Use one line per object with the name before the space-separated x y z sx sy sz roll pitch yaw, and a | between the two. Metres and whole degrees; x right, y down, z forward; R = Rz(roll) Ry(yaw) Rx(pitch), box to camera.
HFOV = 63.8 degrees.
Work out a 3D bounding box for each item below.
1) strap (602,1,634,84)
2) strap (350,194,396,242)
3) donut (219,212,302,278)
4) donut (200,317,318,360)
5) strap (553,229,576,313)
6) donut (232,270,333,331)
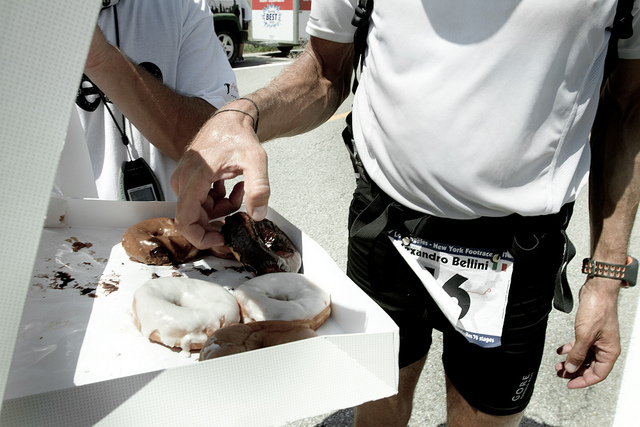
strap | 0.966 -0.546 1.662 0.066 0.253 0.129 27 38 36
strap | 0.220 -0.029 1.918 0.113 0.051 0.158 30 23 1
donut | -0.238 0.141 1.940 0.287 0.104 0.203 46 35 19
donut | -0.179 0.387 1.576 0.369 0.089 0.140 -8 32 -18
strap | 0.876 0.202 1.822 0.068 0.298 0.065 6 -10 3
donut | -0.118 0.286 1.737 0.255 0.178 0.289 2 11 35
